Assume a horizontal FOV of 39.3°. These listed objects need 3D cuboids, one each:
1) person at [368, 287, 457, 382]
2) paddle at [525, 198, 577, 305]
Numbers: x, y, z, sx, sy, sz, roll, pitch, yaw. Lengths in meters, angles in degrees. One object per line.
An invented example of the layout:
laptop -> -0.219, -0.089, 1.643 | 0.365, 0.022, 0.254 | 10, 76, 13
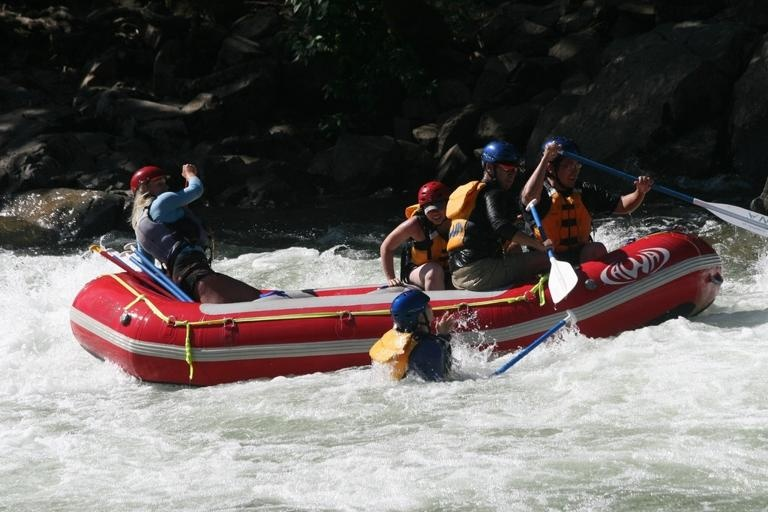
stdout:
person -> 0.390, 0.934, 13.725 | 0.989, 1.176, 0.807 | -17, 16, 28
paddle -> 2.100, -0.032, 14.102 | 0.461, 0.232, 1.564 | -27, 43, 5
